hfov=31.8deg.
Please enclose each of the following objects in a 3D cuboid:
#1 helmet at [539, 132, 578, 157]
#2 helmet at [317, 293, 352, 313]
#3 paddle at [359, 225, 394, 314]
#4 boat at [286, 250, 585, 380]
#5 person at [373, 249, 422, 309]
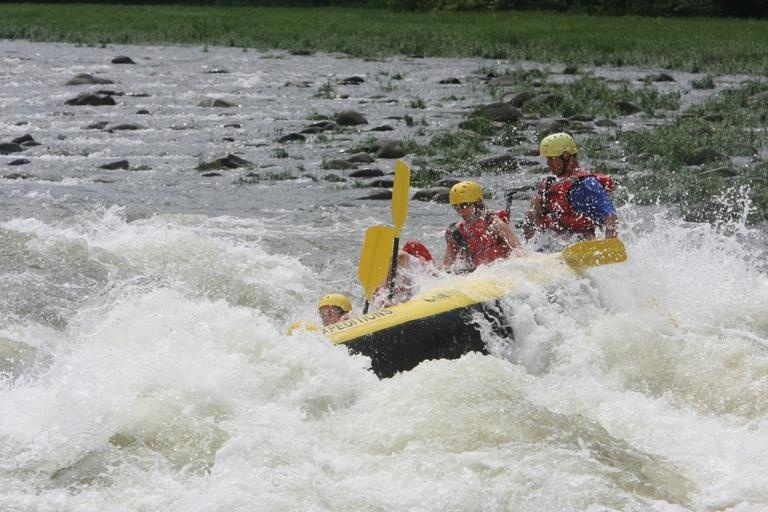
[{"bbox_3d":[3.424,-2.183,26.662,0.649,0.301,0.447,0,3,-1],"label":"helmet"},{"bbox_3d":[-0.948,0.876,25.673,0.506,0.332,0.347,-9,6,4],"label":"helmet"},{"bbox_3d":[-0.190,0.273,25.927,0.568,1.800,0.129,6,7,-3],"label":"paddle"},{"bbox_3d":[0.875,1.205,25.119,5.726,1.202,1.908,-17,27,-9],"label":"boat"},{"bbox_3d":[0.277,0.532,26.116,0.485,1.661,0.266,27,-4,-6],"label":"person"}]
